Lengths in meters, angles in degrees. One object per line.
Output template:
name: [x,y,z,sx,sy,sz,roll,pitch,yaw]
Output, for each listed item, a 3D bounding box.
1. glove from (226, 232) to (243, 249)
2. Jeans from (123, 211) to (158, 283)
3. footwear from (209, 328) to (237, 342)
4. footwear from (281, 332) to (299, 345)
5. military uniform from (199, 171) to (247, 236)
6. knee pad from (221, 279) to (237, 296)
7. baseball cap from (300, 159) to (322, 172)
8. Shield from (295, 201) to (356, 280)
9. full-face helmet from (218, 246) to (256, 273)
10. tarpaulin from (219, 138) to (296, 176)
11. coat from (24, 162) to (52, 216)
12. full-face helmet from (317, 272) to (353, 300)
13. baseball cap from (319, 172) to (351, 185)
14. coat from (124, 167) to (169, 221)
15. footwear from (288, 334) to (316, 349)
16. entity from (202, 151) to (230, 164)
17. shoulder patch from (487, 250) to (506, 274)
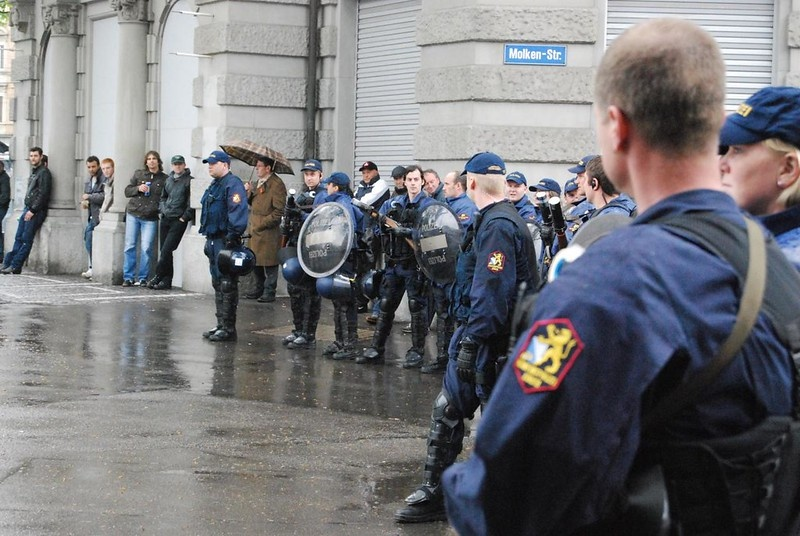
glove: [-2.050,-0.349,17.235,0.194,0.200,0.167,-2,12,-33]
Jeans: [-4.201,-0.348,22.212,0.456,1.442,0.371,3,-29,-15]
footwear: [-2.171,0.821,16.994,0.317,0.123,0.141,5,-5,-31]
footwear: [-1.330,0.876,16.790,0.093,0.103,0.233,2,0,31]
military uniform: [-2.244,-0.827,17.666,0.458,0.847,1.010,2,2,-28]
knee pad: [-2.119,0.236,17.206,0.168,0.216,0.217,-1,-16,4]
baseball cap: [-1.138,-1.378,17.824,0.206,0.145,0.299,0,-4,14]
Shield: [-0.848,-0.304,16.150,0.841,0.957,0.172,8,-8,34]
full-face helmet: [-2.027,-0.101,17.158,0.383,0.290,0.312,1,11,7]
tarpaulin: [-2.078,-1.634,19.096,0.588,0.159,0.625,16,-12,33]
coat: [-6.461,-1.467,24.712,0.455,0.898,0.650,0,6,-35]
full-face helmet: [-0.759,0.254,16.169,0.369,0.288,0.321,-6,45,-17]
baseball cap: [-0.793,-1.137,17.190,0.239,0.128,0.169,3,5,16]
coat: [-3.991,-1.182,21.933,0.704,0.695,0.405,20,1,7]
footwear: [-1.183,0.899,16.779,0.328,0.207,0.133,5,2,-20]
entity: [-2.299,-1.432,17.645,0.325,0.156,0.214,2,0,-32]
shoulder patch: [0.801,-0.054,11.515,0.200,0.263,0.037,1,-1,6]
